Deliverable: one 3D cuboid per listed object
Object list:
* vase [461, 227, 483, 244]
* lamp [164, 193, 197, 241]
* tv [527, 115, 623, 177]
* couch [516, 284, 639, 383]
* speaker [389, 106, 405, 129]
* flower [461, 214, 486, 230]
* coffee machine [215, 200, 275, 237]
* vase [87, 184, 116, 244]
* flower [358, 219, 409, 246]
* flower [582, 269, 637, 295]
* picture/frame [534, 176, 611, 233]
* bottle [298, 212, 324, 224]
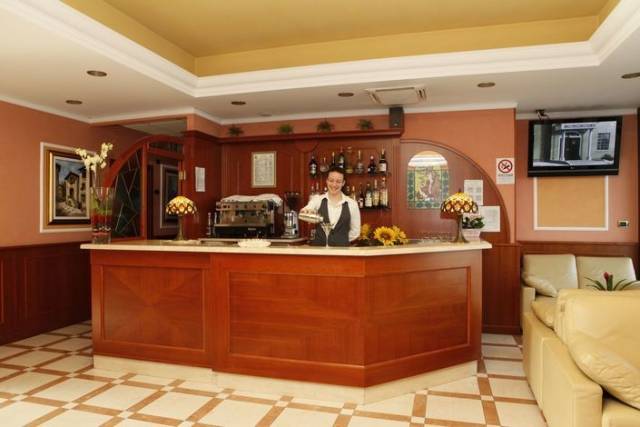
[{"bbox_3d":[2.060,0.293,6.035,0.235,0.164,0.285,0,-2,8],"label":"vase"},{"bbox_3d":[-1.856,0.061,5.881,0.318,0.569,0.478,-7,14,-27],"label":"lamp"},{"bbox_3d":[4.137,-1.093,7.107,1.152,0.716,0.050,1,2,9],"label":"tv"},{"bbox_3d":[2.484,1.179,4.267,1.273,0.758,0.652,0,-15,9],"label":"couch"},{"bbox_3d":[1.193,-1.510,6.993,0.214,0.347,0.160,1,13,8],"label":"speaker"},{"bbox_3d":[2.255,0.119,6.570,0.370,0.210,0.357,0,3,24],"label":"flower"},{"bbox_3d":[-1.234,0.110,7.205,1.142,0.636,0.580,-1,-6,7],"label":"coffee machine"},{"bbox_3d":[-2.780,0.010,5.654,0.268,0.704,0.408,-3,13,-11],"label":"vase"},{"bbox_3d":[0.744,0.282,5.468,0.561,0.252,0.483,6,13,27],"label":"flower"},{"bbox_3d":[3.908,0.917,5.973,0.411,0.185,0.397,2,-5,-28],"label":"flower"},{"bbox_3d":[4.153,-0.148,7.222,1.058,0.769,0.078,0,-2,11],"label":"picture/frame"},{"bbox_3d":[-0.109,0.049,5.056,0.269,0.104,0.116,3,-3,6],"label":"bottle"}]
